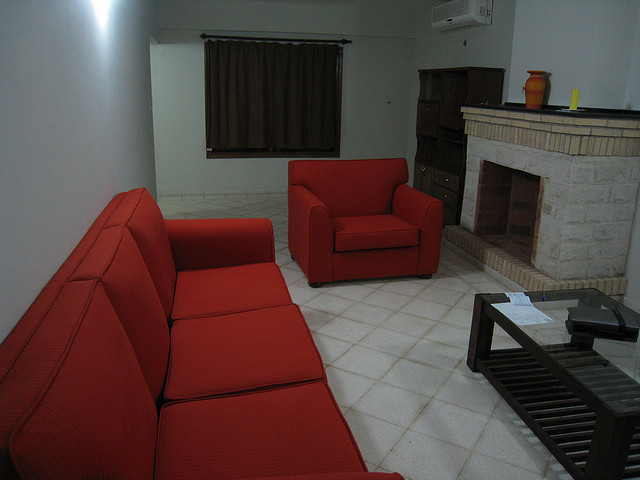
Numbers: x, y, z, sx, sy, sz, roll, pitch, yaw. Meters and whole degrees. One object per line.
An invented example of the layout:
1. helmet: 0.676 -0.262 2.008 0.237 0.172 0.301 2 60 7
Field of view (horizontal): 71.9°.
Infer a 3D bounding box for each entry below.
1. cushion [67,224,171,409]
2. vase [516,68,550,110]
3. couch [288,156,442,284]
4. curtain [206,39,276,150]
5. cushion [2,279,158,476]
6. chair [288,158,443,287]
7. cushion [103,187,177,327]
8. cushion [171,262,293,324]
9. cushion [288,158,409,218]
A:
1. cushion: -0.690 0.260 1.519 0.192 0.479 0.518 -8 31 -7
2. vase: 1.960 -1.367 4.011 0.200 0.338 0.200 -4 20 -6
3. couch: 0.379 -0.209 4.099 1.148 1.079 1.037 -5 14 -13
4. curtain: -1.188 -2.219 6.499 1.423 1.965 0.178 -1 9 -13
5. cushion: -0.653 0.368 1.197 0.159 0.386 0.501 -3 18 -9
6. chair: 0.367 -0.206 4.103 1.187 1.037 1.051 -4 15 -15
7. cushion: -0.807 0.078 1.994 0.198 0.453 0.576 -10 36 -10
8. cushion: -0.504 0.278 2.507 0.376 0.095 0.386 -3 20 -17
9. cushion: 0.302 -0.328 4.337 1.086 0.761 0.601 0 -13 1
